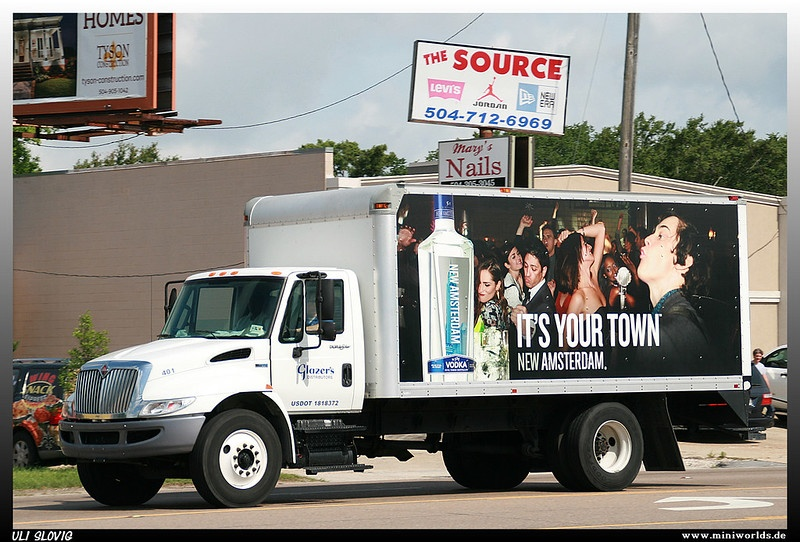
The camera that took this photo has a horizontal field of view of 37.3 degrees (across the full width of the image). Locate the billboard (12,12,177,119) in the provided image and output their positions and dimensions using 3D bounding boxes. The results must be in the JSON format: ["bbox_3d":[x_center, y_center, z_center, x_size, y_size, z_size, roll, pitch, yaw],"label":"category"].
[{"bbox_3d":[-12.525,-8.164,44.635,8.723,4.596,0.402,4,3,32],"label":"billboard"}]

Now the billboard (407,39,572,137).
[{"bbox_3d":[2.237,-4.559,29.738,4.414,2.003,0.423,1,4,-28],"label":"billboard"}]

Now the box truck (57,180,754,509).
[{"bbox_3d":[0.358,1.128,20.792,11.931,4.567,5.012,4,-6,-31],"label":"box truck"}]

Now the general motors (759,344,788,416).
[{"bbox_3d":[10.583,3.238,33.579,0.647,2.049,1.795,-1,-3,15],"label":"general motors"}]

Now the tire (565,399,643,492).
[{"bbox_3d":[3.488,3.078,20.644,1.701,1.514,0.516,5,-6,-31],"label":"tire"}]

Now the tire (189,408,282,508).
[{"bbox_3d":[-2.534,2.887,18.418,1.482,1.382,0.510,17,-7,-11],"label":"tire"}]
